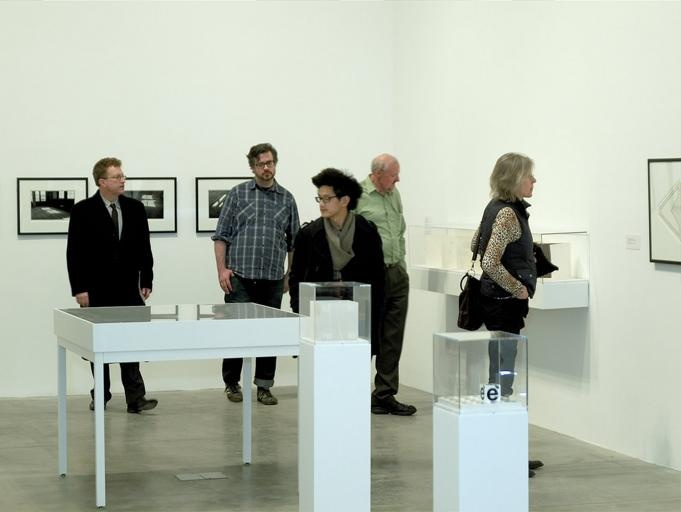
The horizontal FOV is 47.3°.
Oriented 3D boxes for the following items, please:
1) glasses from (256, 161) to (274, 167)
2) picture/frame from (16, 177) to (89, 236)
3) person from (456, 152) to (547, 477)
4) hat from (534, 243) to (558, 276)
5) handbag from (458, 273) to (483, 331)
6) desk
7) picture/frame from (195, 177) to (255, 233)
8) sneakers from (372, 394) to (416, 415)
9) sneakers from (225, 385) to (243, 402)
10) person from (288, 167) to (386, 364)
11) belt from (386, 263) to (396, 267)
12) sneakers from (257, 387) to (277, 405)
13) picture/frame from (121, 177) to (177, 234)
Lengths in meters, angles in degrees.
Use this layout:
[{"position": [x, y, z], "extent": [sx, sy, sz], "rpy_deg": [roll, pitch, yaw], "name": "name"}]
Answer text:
[{"position": [-0.674, -0.799, 6.898], "extent": [0.160, 0.061, 0.083], "rpy_deg": [0, 4, -8], "name": "glasses"}, {"position": [-2.762, -0.453, 7.350], "extent": [0.475, 0.468, 0.019], "rpy_deg": [-1, 1, -19], "name": "picture/frame"}, {"position": [1.071, -0.082, 5.303], "extent": [0.509, 1.201, 0.305], "rpy_deg": [1, 3, 10], "name": "person"}, {"position": [1.518, 0.036, 5.791], "extent": [0.183, 0.232, 0.180], "rpy_deg": [-19, 10, -32], "name": "hat"}, {"position": [0.919, 0.273, 5.524], "extent": [0.146, 0.410, 0.312], "rpy_deg": [3, 18, 10], "name": "handbag"}, {"position": [-1.138, 0.516, 5.200], "extent": [1.489, 1.379, 1.134], "rpy_deg": [-1, 4, -18], "name": "desk"}, {"position": [-1.131, -0.461, 7.455], "extent": [0.470, 0.544, 0.021], "rpy_deg": [-1, 4, -11], "name": "picture/frame"}, {"position": [0.438, 1.308, 6.897], "extent": [0.436, 0.248, 0.164], "rpy_deg": [-1, 2, -1], "name": "sneakers"}, {"position": [-1.035, 1.318, 7.466], "extent": [0.107, 0.110, 0.231], "rpy_deg": [1, -4, -23], "name": "sneakers"}, {"position": [-0.039, 0.044, 5.523], "extent": [0.685, 1.291, 0.443], "rpy_deg": [0, 3, 1], "name": "person"}, {"position": [0.432, 0.088, 6.751], "extent": [0.092, 0.034, 0.006], "rpy_deg": [-2, 4, -30], "name": "belt"}, {"position": [-0.686, 1.307, 7.282], "extent": [0.092, 0.120, 0.245], "rpy_deg": [2, -4, -26], "name": "sneakers"}, {"position": [-1.845, -0.487, 7.385], "extent": [0.479, 0.594, 0.019], "rpy_deg": [0, 4, -7], "name": "picture/frame"}]
